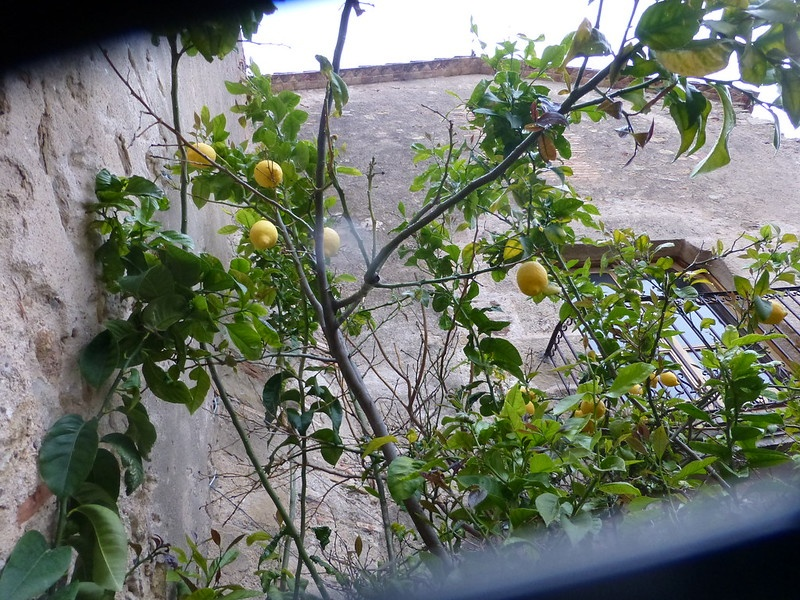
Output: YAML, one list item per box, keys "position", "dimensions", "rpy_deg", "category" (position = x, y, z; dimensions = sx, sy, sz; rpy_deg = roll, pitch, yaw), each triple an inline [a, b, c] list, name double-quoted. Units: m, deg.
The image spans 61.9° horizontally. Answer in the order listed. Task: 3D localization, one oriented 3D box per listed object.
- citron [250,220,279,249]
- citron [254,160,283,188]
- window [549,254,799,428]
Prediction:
- position: [-0.399, -0.202, 2.007]
  dimensions: [0.088, 0.102, 0.086]
  rpy_deg: [-7, -21, -14]
  category: "citron"
- position: [-0.384, -0.372, 1.960]
  dimensions: [0.077, 0.073, 0.087]
  rpy_deg: [13, 23, -28]
  category: "citron"
- position: [1.060, 0.165, 2.576]
  dimensions: [1.087, 0.733, 0.045]
  rpy_deg: [9, -39, 24]
  category: "window"
